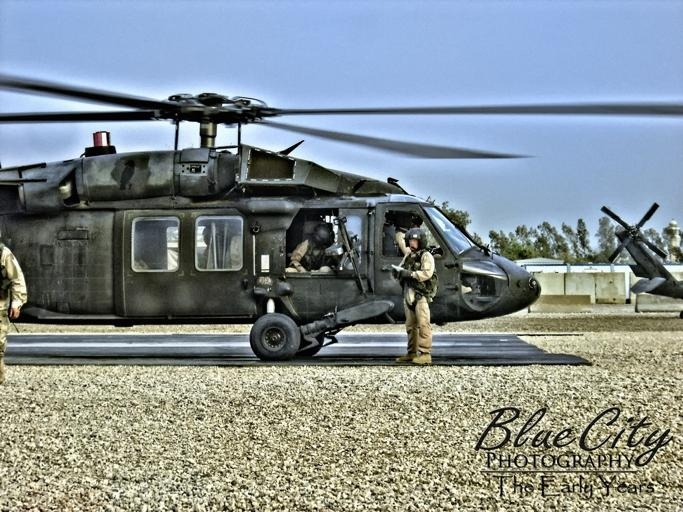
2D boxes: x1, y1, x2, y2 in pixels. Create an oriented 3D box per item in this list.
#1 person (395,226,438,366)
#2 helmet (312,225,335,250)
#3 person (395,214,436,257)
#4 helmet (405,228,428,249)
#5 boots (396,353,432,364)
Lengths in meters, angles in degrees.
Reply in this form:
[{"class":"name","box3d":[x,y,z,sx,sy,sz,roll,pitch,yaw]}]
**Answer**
[{"class":"person","box3d":[1.123,0.584,15.423,0.666,1.898,0.826,-3,-1,4]},{"class":"helmet","box3d":[-0.309,-0.263,16.473,0.358,0.386,0.349,7,-18,-29]},{"class":"person","box3d":[1.073,-0.342,16.021,0.584,0.672,0.661,6,2,17]},{"class":"helmet","box3d":[1.153,-0.254,15.393,0.330,0.269,0.307,10,-13,-35]},{"class":"boots","box3d":[1.091,1.498,15.439,0.615,0.218,0.185,2,1,16]}]
